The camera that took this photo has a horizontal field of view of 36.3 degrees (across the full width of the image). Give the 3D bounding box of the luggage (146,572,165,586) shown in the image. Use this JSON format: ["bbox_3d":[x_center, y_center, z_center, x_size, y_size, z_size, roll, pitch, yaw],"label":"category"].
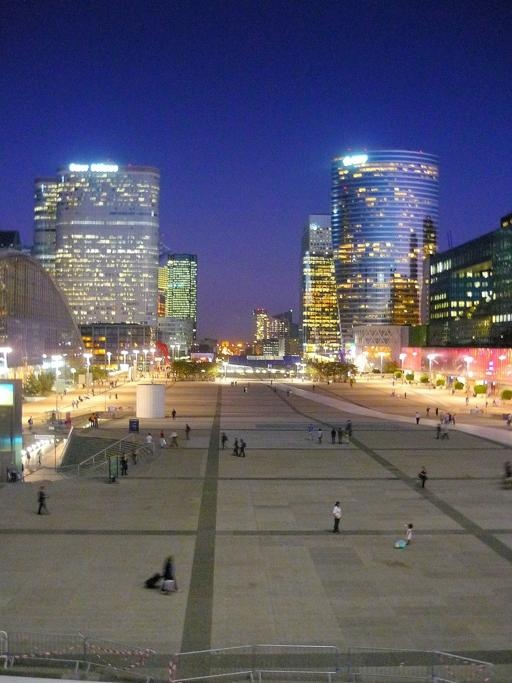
[{"bbox_3d":[-2.940,6.832,22.430,0.255,0.143,0.441,-3,15,5],"label":"luggage"}]

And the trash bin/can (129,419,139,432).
[{"bbox_3d":[-7.913,5.408,50.361,0.481,0.882,1.002,0,0,-18],"label":"trash bin/can"}]

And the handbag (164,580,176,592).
[{"bbox_3d":[-2.418,6.817,22.079,0.269,0.344,0.285,4,9,34],"label":"handbag"}]
